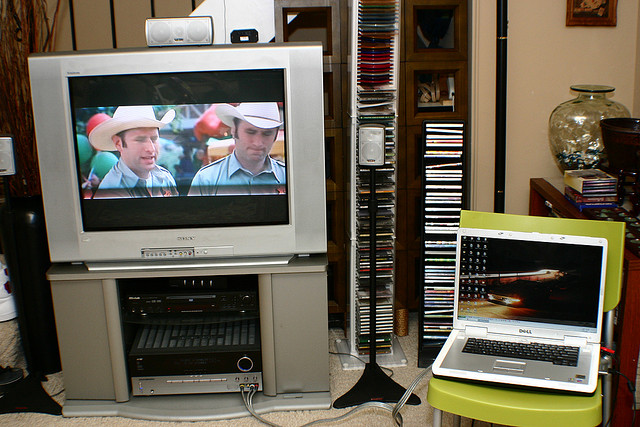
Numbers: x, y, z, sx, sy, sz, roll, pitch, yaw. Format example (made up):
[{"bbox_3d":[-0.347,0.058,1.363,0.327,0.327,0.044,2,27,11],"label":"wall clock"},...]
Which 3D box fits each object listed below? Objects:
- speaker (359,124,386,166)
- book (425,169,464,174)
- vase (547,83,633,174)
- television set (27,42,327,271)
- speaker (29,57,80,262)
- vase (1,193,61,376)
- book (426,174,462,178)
[{"bbox_3d":[0.294,-0.399,3.279,0.153,0.219,0.125,2,18,11],"label":"speaker"},{"bbox_3d":[0.728,-0.256,3.411,0.187,0.027,0.028,1,4,1],"label":"book"},{"bbox_3d":[1.608,-0.524,3.593,0.524,0.601,0.523,-5,8,-28],"label":"vase"},{"bbox_3d":[-0.766,-0.333,3.144,1.466,1.042,0.244,-2,11,-2],"label":"television set"},{"bbox_3d":[-1.457,-0.287,3.147,0.193,1.116,0.056,-3,10,8],"label":"speaker"},{"bbox_3d":[-1.750,0.425,3.467,0.323,1.043,0.446,-12,41,-11],"label":"vase"},{"bbox_3d":[0.736,-0.231,3.415,0.160,0.026,0.017,1,0,2],"label":"book"}]
